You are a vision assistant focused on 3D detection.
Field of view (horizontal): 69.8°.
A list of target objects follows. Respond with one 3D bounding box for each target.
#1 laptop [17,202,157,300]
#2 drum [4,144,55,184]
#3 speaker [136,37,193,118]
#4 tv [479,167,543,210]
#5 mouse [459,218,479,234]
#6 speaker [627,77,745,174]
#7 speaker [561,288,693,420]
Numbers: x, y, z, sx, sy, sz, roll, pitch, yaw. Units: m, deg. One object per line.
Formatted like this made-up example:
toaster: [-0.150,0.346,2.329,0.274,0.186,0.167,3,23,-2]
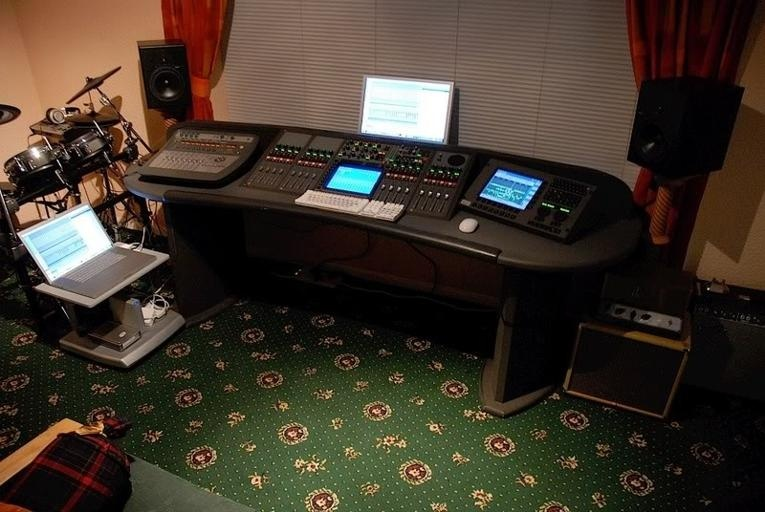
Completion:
laptop: [-1.896,-0.053,3.547,0.582,0.338,0.536,17,43,19]
drum: [-2.486,-0.596,3.861,0.306,0.117,0.272,-22,18,26]
speaker: [-1.645,-1.329,4.217,0.347,0.496,0.322,-5,-7,-30]
tv: [0.762,-0.403,3.270,0.300,0.112,0.234,25,46,26]
mouse: [0.499,-0.180,3.175,0.115,0.037,0.125,8,41,9]
speaker: [1.751,-0.763,3.191,0.506,0.474,0.367,-15,34,-22]
speaker: [1.520,0.583,3.405,0.611,0.568,0.485,11,31,23]
